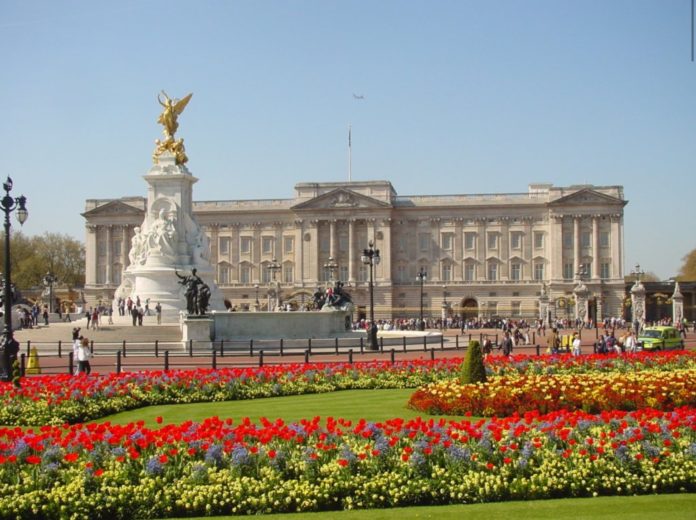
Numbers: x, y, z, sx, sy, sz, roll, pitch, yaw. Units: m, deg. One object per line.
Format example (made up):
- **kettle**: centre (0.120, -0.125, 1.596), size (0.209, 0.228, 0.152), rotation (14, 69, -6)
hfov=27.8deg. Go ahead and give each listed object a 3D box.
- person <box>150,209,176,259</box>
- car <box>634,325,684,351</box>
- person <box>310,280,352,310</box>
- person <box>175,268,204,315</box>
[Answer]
- **person**: centre (-9.183, -1.242, 70.044), size (1.214, 2.061, 1.196), rotation (-3, 9, -8)
- **car**: centre (14.007, 3.481, 62.954), size (1.908, 0.826, 1.140), rotation (7, -10, -37)
- **person**: centre (-0.843, 1.769, 72.568), size (1.533, 1.018, 2.020), rotation (2, -5, -13)
- **person**: centre (-7.042, 1.353, 63.378), size (0.789, 1.978, 1.536), rotation (-3, 9, -7)
